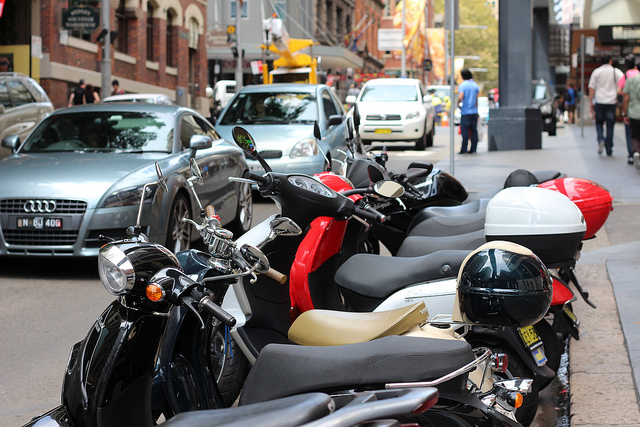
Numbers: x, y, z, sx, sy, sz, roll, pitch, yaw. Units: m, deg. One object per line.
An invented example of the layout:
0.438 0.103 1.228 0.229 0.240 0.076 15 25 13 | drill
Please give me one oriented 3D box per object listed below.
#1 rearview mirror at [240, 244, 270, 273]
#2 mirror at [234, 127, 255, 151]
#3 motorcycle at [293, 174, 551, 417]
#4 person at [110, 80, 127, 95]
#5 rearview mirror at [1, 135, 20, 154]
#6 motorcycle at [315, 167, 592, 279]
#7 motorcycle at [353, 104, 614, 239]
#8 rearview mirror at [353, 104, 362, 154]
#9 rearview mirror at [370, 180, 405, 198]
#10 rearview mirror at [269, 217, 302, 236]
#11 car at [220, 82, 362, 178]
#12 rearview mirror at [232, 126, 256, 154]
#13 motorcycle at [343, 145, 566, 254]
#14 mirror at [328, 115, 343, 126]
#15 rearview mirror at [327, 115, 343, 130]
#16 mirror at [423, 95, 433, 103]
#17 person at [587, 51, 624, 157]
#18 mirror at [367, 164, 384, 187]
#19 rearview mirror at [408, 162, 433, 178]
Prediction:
-0.312 0.200 3.018 0.109 0.149 0.033 -12 22 39 | rearview mirror
-0.410 -0.423 3.483 0.100 0.133 0.190 2 9 18 | mirror
0.375 0.509 3.977 1.854 1.418 0.946 6 1 7 | motorcycle
-7.613 -4.757 23.293 0.443 0.552 1.994 -4 10 -18 | person
-4.298 -0.967 8.573 0.215 0.278 0.400 -2 21 -15 | rearview mirror
1.010 0.169 4.616 1.677 1.123 0.971 3 15 17 | motorcycle
1.302 -0.153 5.176 2.033 1.508 1.257 4 15 15 | motorcycle
0.372 -0.776 5.588 0.069 0.469 0.133 -2 7 -12 | rearview mirror
0.431 -0.152 3.886 0.184 0.128 0.189 -1 9 0 | rearview mirror
-0.178 0.056 3.542 0.127 0.111 0.033 20 44 1 | rearview mirror
-0.790 -1.701 14.349 2.697 2.660 5.092 2 6 11 | car
-0.406 -0.421 3.469 0.108 0.155 0.034 -17 21 51 | rearview mirror
1.006 0.036 5.176 1.739 1.167 1.036 1 11 7 | motorcycle
0.320 -1.845 12.129 0.257 0.115 0.213 -4 15 16 | mirror
0.313 -1.805 12.119 0.283 0.130 0.237 -4 10 4 | rearview mirror
3.887 -4.126 22.090 0.203 0.257 0.420 5 23 16 | mirror
7.729 -2.975 16.544 0.982 2.826 1.148 4 5 27 | person
0.418 -0.296 4.647 0.153 0.105 0.083 0 10 -16 | mirror
0.943 -0.404 5.727 0.227 0.164 0.355 0 9 9 | rearview mirror
